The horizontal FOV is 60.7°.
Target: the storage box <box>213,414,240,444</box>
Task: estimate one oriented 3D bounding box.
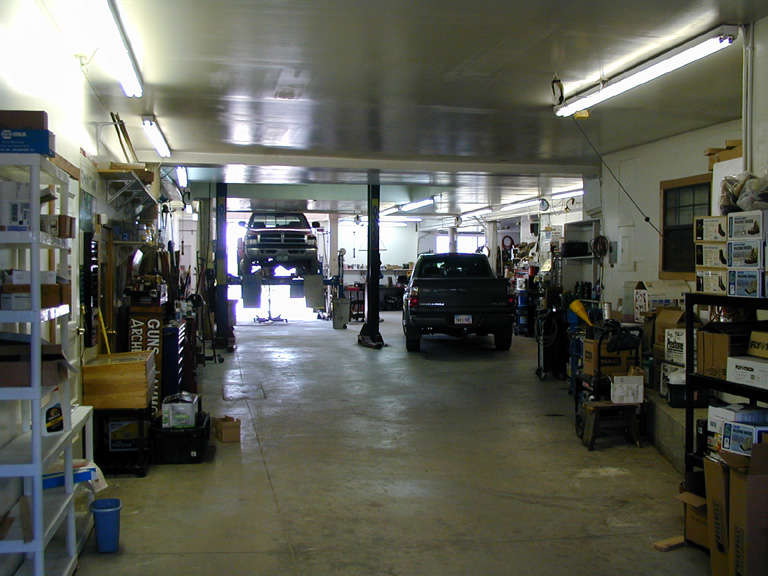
[{"bbox_3d":[-1.746,1.568,7.277,0.210,0.251,0.388,2,-1,-23],"label":"storage box"}]

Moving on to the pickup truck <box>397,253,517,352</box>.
[{"bbox_3d":[1.386,0.169,12.399,1.295,1.176,2.681,0,4,-1],"label":"pickup truck"}]

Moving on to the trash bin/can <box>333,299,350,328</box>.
[{"bbox_3d":[-1.190,0.689,17.799,0.440,0.772,0.473,-1,5,-10],"label":"trash bin/can"}]

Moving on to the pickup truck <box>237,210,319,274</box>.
[{"bbox_3d":[-2.985,-1.187,18.472,2.018,1.849,3.883,0,-2,-14],"label":"pickup truck"}]

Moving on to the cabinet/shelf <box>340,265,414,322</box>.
[{"bbox_3d":[-0.216,0.212,19.471,1.763,1.682,0.534,0,-1,-9],"label":"cabinet/shelf"}]
